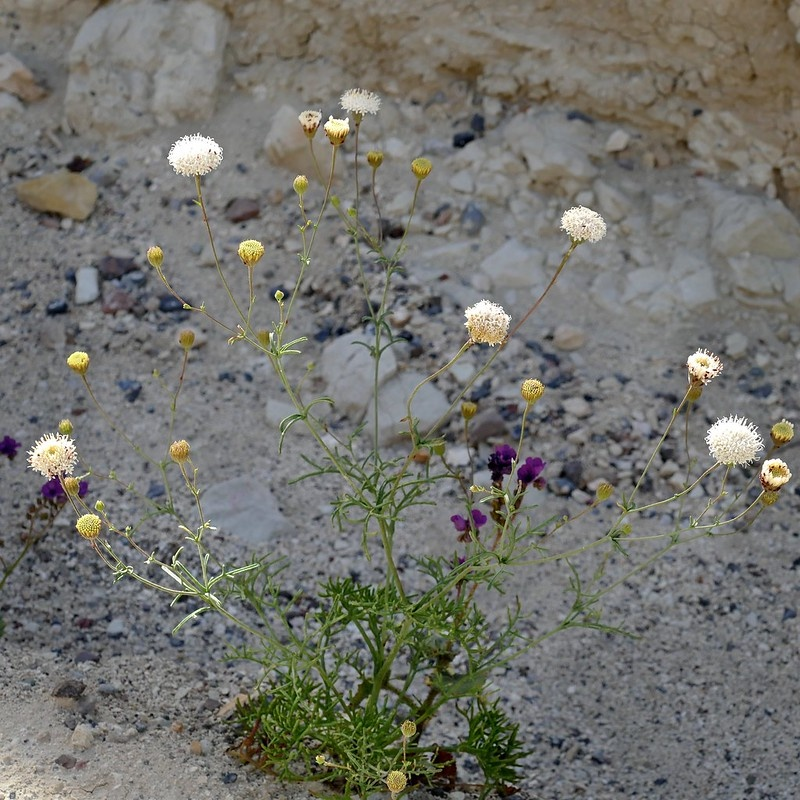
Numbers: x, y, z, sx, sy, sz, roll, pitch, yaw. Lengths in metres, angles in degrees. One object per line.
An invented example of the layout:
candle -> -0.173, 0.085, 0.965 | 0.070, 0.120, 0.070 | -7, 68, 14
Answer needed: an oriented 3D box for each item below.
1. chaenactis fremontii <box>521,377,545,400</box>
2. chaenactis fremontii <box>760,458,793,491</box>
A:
chaenactis fremontii -> 0.502, -0.028, 5.635 | 0.087, 0.110, 0.088 | -2, 25, -1
chaenactis fremontii -> 1.436, 0.284, 5.660 | 0.117, 0.119, 0.120 | -11, 68, 35
